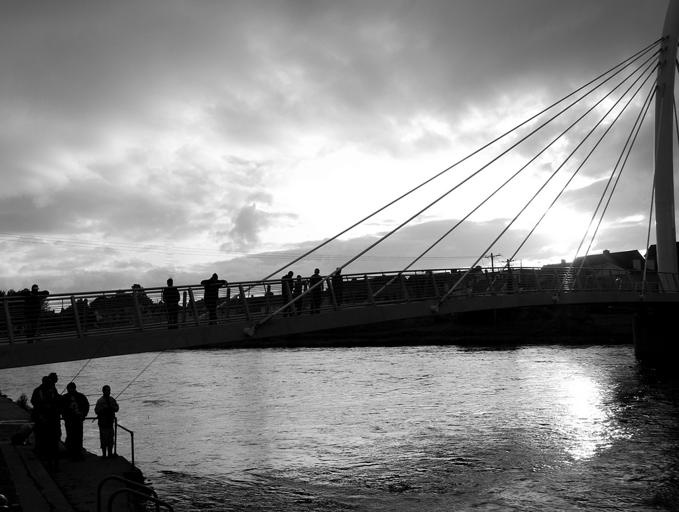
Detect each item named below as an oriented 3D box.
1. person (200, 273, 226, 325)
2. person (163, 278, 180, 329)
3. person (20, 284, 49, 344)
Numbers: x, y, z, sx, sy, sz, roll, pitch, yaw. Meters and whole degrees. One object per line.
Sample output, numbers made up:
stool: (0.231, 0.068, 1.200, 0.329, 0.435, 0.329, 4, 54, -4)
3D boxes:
person: (-3.821, 1.299, 18.834, 0.688, 1.503, 2.040, -1, -3, -12)
person: (-4.920, 1.459, 18.139, 0.439, 1.298, 1.551, -1, -3, -16)
person: (-8.348, 1.678, 16.975, 0.572, 1.287, 1.496, 0, -4, -27)
